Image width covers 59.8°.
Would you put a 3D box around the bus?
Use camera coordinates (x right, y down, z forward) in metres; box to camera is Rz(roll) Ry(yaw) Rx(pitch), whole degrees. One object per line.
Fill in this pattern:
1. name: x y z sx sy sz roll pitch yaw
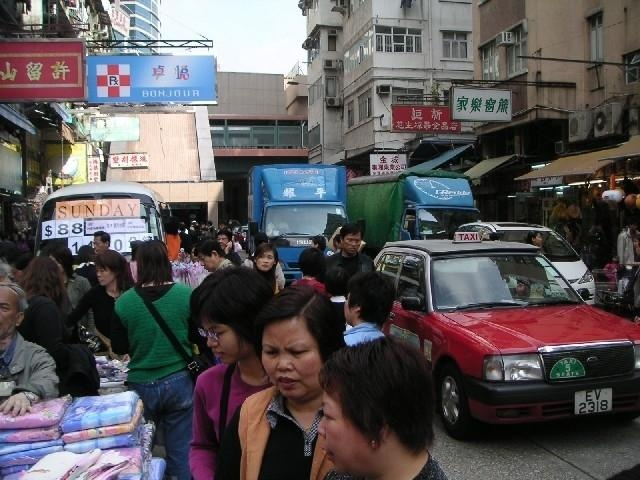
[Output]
1. bus: -4.518 0.252 12.092 2.312 2.301 4.571 -3 -13 -17

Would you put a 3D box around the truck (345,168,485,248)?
1. truck: 2.822 -0.893 18.216 2.305 2.823 5.407 0 3 -21

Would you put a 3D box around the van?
1. van: 4.629 0.221 11.788 1.840 1.818 3.558 -1 -2 -6

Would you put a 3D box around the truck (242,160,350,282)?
1. truck: -0.519 0.069 17.048 3.165 4.117 7.230 1 -7 -6
